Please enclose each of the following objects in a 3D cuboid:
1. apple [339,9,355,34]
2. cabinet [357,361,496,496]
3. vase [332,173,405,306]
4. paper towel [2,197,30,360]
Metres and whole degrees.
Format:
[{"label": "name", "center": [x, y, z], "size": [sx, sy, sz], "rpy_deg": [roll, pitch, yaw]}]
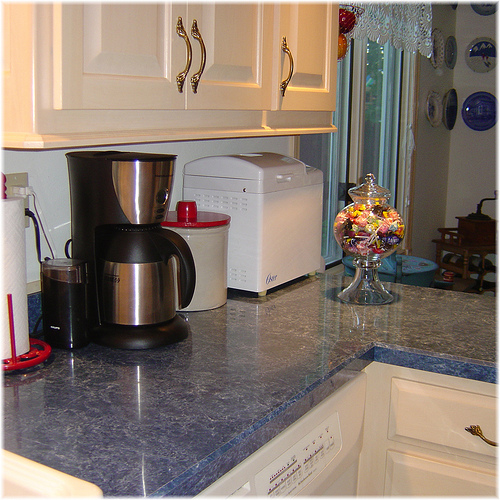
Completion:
[{"label": "apple", "center": [0.346, -0.829, 1.713], "size": [0.068, 0.076, 0.070], "rpy_deg": [1, -8, -6]}, {"label": "cabinet", "center": [0.398, 0.417, 1.128], "size": [0.299, 0.315, 0.282], "rpy_deg": [8, 14, 23]}, {"label": "vase", "center": [0.363, -0.040, 1.464], "size": [0.203, 0.383, 0.258], "rpy_deg": [3, 10, 9]}, {"label": "paper towel", "center": [-0.451, 0.050, 0.917], "size": [0.041, 0.306, 0.151], "rpy_deg": [-1, 10, -14]}]
